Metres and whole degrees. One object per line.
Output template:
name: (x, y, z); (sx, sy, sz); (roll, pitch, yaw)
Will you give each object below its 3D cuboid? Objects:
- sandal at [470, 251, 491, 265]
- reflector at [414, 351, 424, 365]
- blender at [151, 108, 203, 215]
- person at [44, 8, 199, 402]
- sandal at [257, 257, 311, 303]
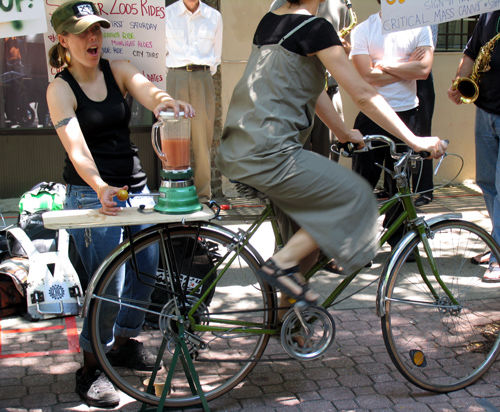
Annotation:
sandal: (2.398, 0.569, 4.830); (0.247, 0.054, 0.143); (-13, 4, 5)
reflector: (1.065, 0.959, 2.900); (0.060, 0.071, 0.027); (2, -9, -15)
blender: (-0.412, -0.247, 2.582); (0.257, 0.574, 0.393); (-1, 8, -8)
person: (-0.824, -0.016, 2.820); (0.718, 2.309, 1.114); (-8, 16, -22)
sandal: (0.198, 0.396, 2.446); (0.396, 0.161, 0.129); (28, -2, -10)
